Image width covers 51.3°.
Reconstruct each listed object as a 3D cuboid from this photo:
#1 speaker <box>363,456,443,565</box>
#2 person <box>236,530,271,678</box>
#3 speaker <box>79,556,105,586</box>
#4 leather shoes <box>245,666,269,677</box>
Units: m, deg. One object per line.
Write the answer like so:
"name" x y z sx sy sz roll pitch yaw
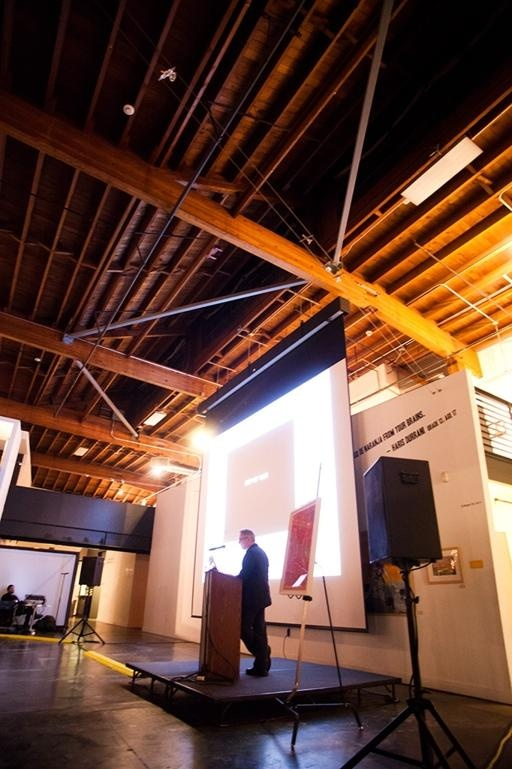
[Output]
"speaker" 0.807 0.694 2.925 0.305 0.559 0.423 1 -21 -1
"person" -0.017 1.677 4.197 0.250 1.087 0.416 1 -21 0
"speaker" -2.398 2.688 7.734 0.292 0.440 0.733 7 -22 -16
"leather shoes" 0.011 2.175 4.088 0.169 0.083 0.224 1 -21 -1
